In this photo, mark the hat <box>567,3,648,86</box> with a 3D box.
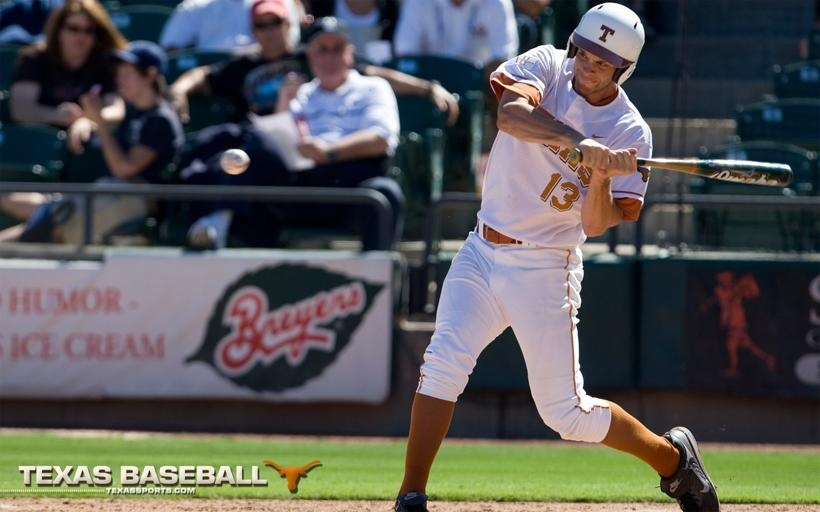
[{"bbox_3d":[1.081,-1.192,8.802,0.398,0.337,0.433,31,26,12],"label":"hat"}]

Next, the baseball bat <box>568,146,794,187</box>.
[{"bbox_3d":[1.567,-0.522,9.146,1.626,0.165,0.173,6,-11,-19],"label":"baseball bat"}]

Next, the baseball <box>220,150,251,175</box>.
[{"bbox_3d":[-1.120,-0.601,10.198,0.173,0.158,0.092,-4,2,5],"label":"baseball"}]
